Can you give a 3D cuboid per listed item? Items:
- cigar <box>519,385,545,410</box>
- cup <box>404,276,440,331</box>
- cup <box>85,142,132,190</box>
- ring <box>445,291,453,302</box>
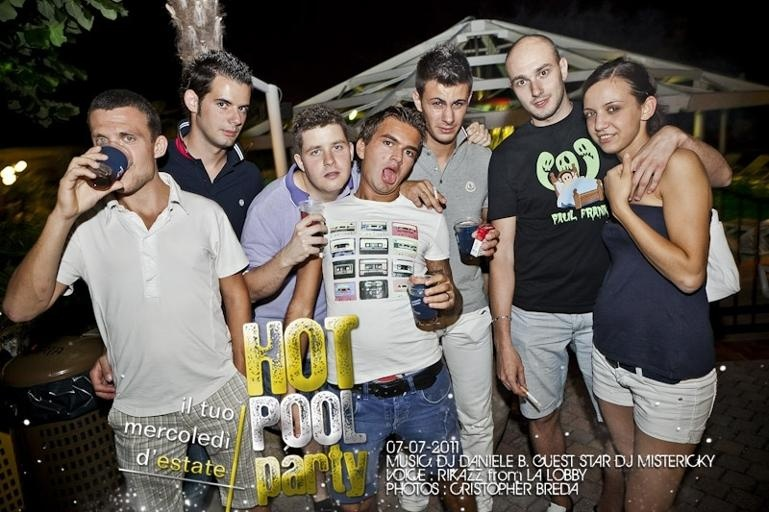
[{"bbox_3d":[1.283,1.204,4.515,0.079,0.261,0.048,-51,-12,31],"label":"cigar"},{"bbox_3d":[0.360,0.318,3.997,0.326,0.436,0.384,1,9,18],"label":"cup"},{"bbox_3d":[-1.799,-0.596,3.572,0.260,0.275,0.279,-5,30,3],"label":"cup"},{"bbox_3d":[0.472,0.293,3.815,0.021,0.064,0.119,-2,4,25],"label":"ring"}]
